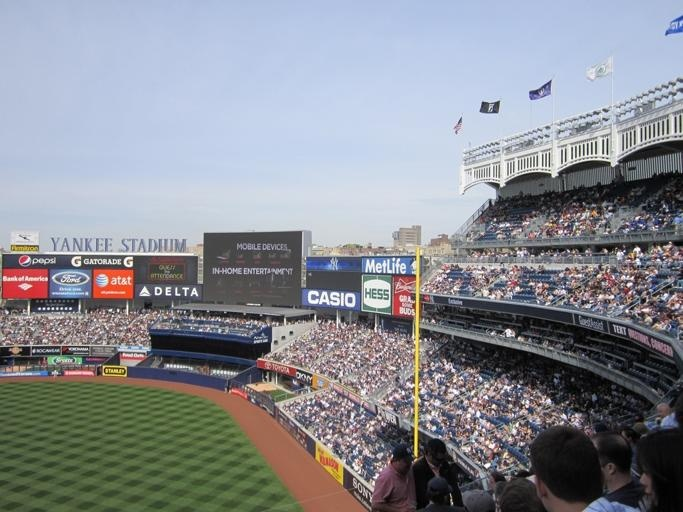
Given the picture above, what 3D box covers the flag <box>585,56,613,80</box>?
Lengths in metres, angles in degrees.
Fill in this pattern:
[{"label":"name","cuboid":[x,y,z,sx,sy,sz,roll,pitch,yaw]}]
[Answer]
[{"label":"flag","cuboid":[16.468,-11.848,45.067,1.338,1.250,2.871,2,10,16]}]
